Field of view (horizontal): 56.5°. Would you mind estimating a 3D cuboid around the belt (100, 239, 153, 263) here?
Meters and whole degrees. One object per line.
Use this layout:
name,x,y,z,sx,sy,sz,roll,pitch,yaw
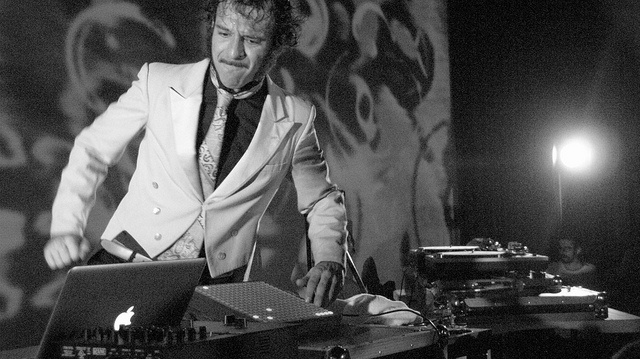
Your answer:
belt,-1.095,0.439,3.390,0.067,0.081,0.330,-6,-34,36
